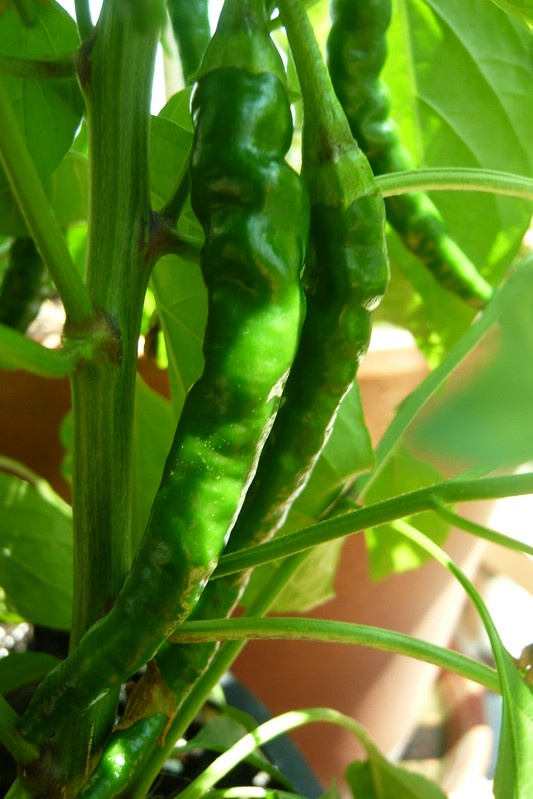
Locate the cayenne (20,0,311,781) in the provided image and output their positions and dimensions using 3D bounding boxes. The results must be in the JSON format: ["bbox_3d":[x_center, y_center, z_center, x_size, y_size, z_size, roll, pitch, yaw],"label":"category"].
[{"bbox_3d":[-0.021,-0.019,0.239,0.060,0.247,0.046,17,-24,-19],"label":"cayenne"}]
